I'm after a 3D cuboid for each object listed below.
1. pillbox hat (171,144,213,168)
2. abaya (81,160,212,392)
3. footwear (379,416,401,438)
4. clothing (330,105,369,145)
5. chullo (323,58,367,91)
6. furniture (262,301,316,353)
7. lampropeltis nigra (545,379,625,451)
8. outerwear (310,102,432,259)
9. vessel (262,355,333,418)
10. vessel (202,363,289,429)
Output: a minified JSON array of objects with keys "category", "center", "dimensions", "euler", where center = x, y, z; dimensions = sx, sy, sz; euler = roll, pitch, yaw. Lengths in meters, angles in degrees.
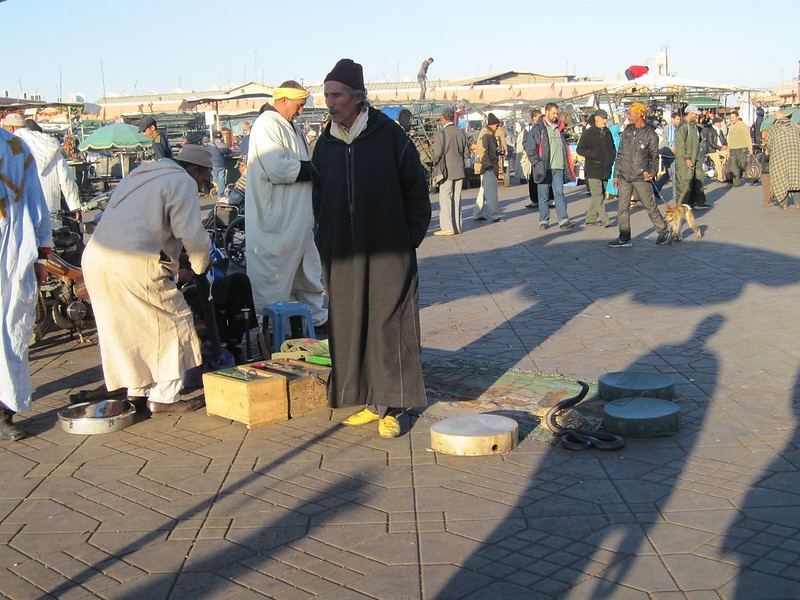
[{"category":"pillbox hat","center":[-1.599,-1.084,5.238],"dimensions":[0.268,0.120,0.173],"euler":[16,15,-27]},{"category":"abaya","center":[-1.837,-0.180,4.951],"dimensions":[0.862,1.613,0.347],"euler":[-8,16,-15]},{"category":"footwear","center":[-0.075,0.874,4.666],"dimensions":[0.159,0.107,0.163],"euler":[-4,13,-3]},{"category":"clothing","center":[-0.340,-1.190,4.702],"dimensions":[0.268,0.258,0.151],"euler":[-1,0,9]},{"category":"chullo","center":[-0.381,-1.489,4.557],"dimensions":[0.262,0.201,0.116],"euler":[-5,15,-6]},{"category":"furniture","center":[-1.085,0.233,6.479],"dimensions":[0.590,0.393,0.525],"euler":[-7,11,-27]},{"category":"lampropeltis nigra","center":[1.188,0.820,4.536],"dimensions":[0.414,0.136,0.695],"euler":[-4,13,-8]},{"category":"outerwear","center":[-0.218,-0.779,4.661],"dimensions":[0.809,1.020,0.344],"euler":[-2,15,6]},{"category":"vessel","center":[-0.781,0.669,5.167],"dimensions":[0.431,0.204,0.579],"euler":[-7,13,-37]},{"category":"vessel","center":[-1.133,0.706,5.009],"dimensions":[0.538,0.349,0.386],"euler":[9,18,41]}]
